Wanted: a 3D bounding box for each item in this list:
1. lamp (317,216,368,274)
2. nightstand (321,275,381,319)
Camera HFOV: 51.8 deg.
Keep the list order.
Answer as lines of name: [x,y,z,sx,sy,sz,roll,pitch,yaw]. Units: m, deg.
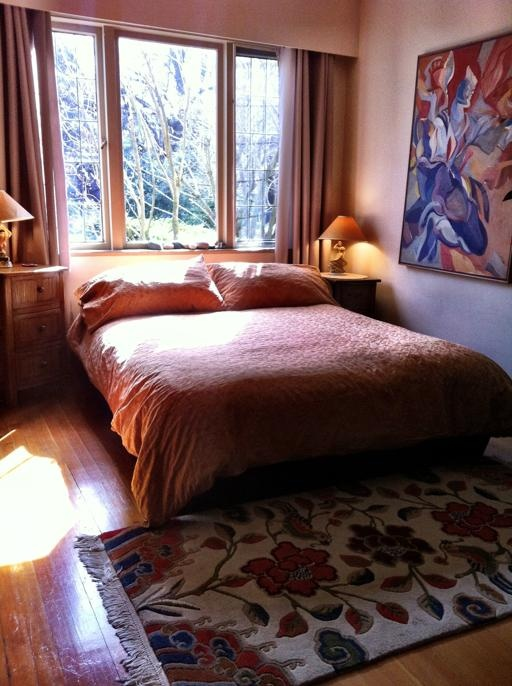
lamp: [0.669,-0.768,4.232,0.442,0.538,0.478,7,13,33]
nightstand: [0.715,-0.352,4.103,0.310,0.380,0.411,-6,22,-8]
